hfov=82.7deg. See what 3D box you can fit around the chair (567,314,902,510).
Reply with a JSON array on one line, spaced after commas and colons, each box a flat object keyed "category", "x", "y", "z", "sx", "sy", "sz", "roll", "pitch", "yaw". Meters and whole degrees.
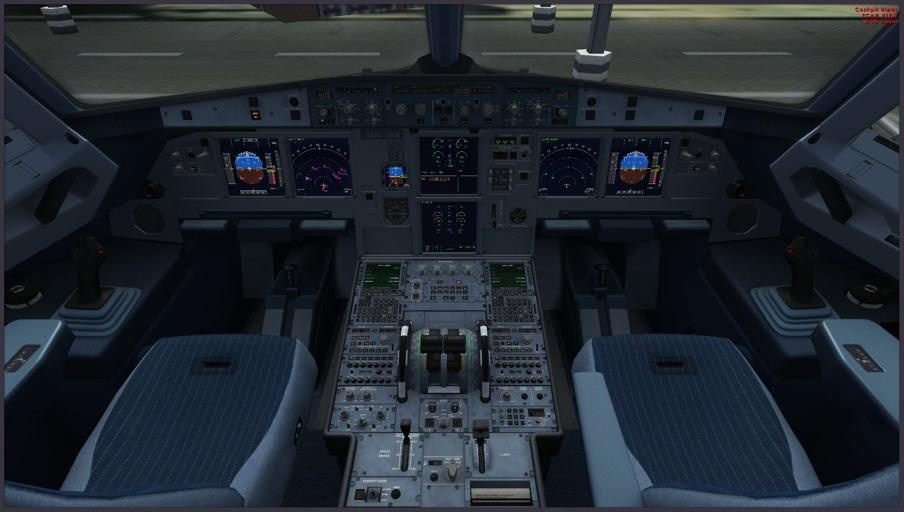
[{"category": "chair", "x": 2.096, "y": 1.272, "z": 3.804, "sx": 2.291, "sy": 0.898, "sz": 1.531, "roll": -1, "pitch": 31, "yaw": 3}]
